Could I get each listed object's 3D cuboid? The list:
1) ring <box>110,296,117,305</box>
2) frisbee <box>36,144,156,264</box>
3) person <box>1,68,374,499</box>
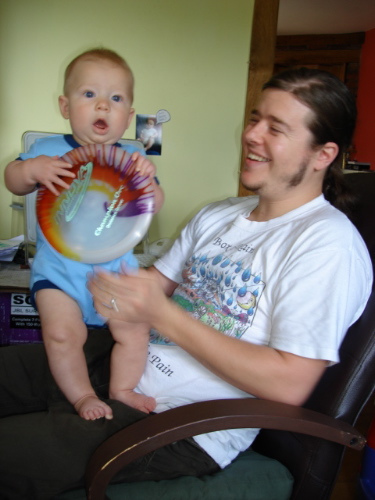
[{"bbox_3d":[-0.159,0.108,0.909,0.016,0.023,0.004,21,28,30],"label":"ring"},{"bbox_3d":[-0.219,-0.113,0.990,0.281,0.251,0.165,5,24,-2],"label":"frisbee"},{"bbox_3d":[0.173,-0.019,1.316,1.312,0.911,0.747,-1,22,-19],"label":"person"}]
